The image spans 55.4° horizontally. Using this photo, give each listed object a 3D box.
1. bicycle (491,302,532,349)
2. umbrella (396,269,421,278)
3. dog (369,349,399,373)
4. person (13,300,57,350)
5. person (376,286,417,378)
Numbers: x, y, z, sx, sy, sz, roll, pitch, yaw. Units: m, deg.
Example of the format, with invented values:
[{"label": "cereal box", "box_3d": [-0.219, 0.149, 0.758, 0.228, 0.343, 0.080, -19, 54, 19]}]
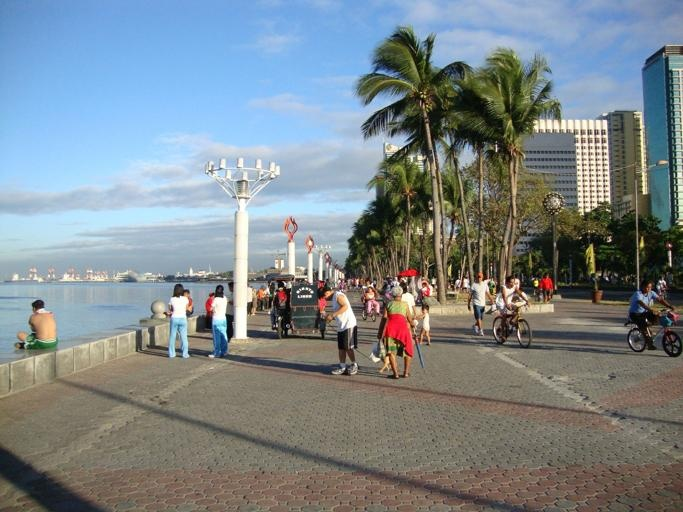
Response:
[{"label": "bicycle", "box_3d": [4.887, 1.988, 18.562, 0.532, 1.117, 1.608, -1, 1, -16]}, {"label": "umbrella", "box_3d": [3.554, 0.857, 33.852, 1.246, 0.630, 1.306, -1, 1, -3]}, {"label": "dog", "box_3d": [0.922, 2.426, 14.993, 0.488, 1.377, 0.428, -1, -6, -1]}, {"label": "person", "box_3d": [-6.869, 1.639, 14.911, 0.801, 1.409, 0.892, 11, 2, -7]}, {"label": "person", "box_3d": [1.246, 1.599, 14.018, 0.713, 1.986, 0.642, 1, 1, -9]}]
